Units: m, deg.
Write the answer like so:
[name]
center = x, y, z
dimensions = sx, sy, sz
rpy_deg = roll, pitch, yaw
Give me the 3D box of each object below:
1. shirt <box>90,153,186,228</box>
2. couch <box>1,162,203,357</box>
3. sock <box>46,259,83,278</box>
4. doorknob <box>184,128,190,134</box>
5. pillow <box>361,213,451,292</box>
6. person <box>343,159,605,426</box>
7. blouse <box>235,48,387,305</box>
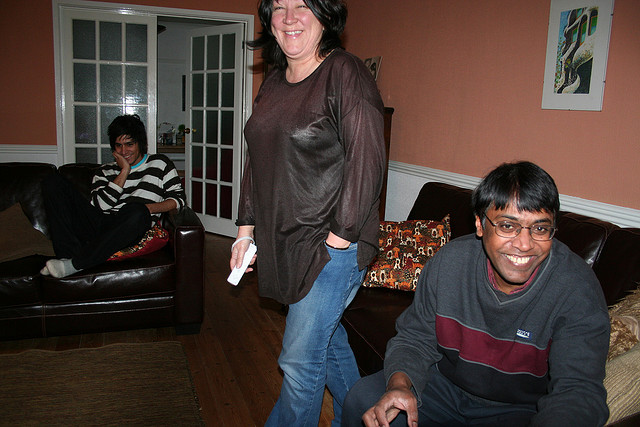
[shirt]
center = -1.580, -0.118, 3.637
dimensions = 0.760, 0.353, 0.892
rpy_deg = -17, -5, -32
[couch]
center = -1.627, 0.441, 3.502
dimensions = 1.645, 1.231, 1.179
rpy_deg = -2, 11, -12
[sock]
center = -1.691, 0.355, 2.857
dimensions = 0.164, 0.097, 0.069
rpy_deg = -8, -17, -40
[doorknob]
center = -1.694, -1.049, 5.546
dimensions = 0.062, 0.073, 0.046
rpy_deg = -2, 15, -17
[pillow]
center = 0.687, 0.183, 2.914
dimensions = 0.160, 0.557, 0.561
rpy_deg = 18, -1, 27
[person]
center = 0.649, 0.358, 1.832
dimensions = 0.705, 0.982, 0.797
rpy_deg = -13, 25, -32
[blouse]
center = -0.050, -0.150, 1.835
dimensions = 0.613, 1.053, 0.317
rpy_deg = 13, 17, 36
